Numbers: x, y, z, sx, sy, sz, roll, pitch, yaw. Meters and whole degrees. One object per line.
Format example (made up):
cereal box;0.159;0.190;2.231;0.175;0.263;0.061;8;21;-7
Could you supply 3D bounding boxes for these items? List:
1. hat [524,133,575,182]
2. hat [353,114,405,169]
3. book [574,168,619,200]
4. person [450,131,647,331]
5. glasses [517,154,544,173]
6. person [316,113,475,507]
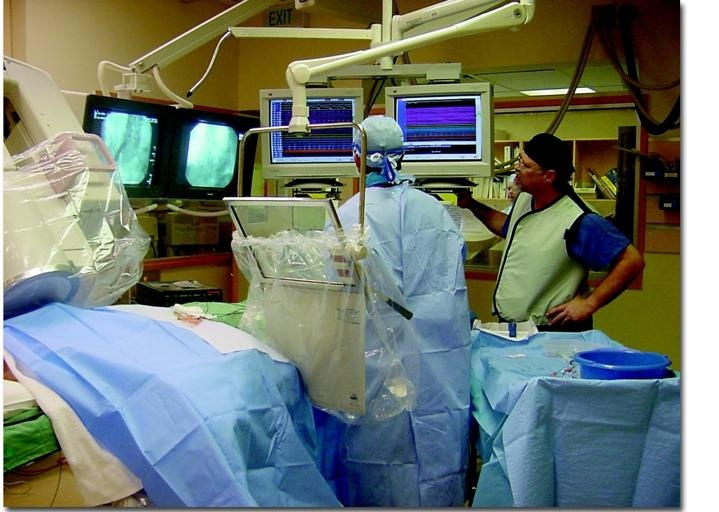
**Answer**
hat;0.832;-0.421;2.583;0.225;0.213;0.165;-13;15;-43
hat;0.074;-0.424;2.201;0.152;0.205;0.173;-3;-16;2
book;1.808;-0.515;4.380;0.323;0.244;0.095;-12;-15;-44
person;0.962;-0.099;3.213;0.781;1.615;0.863;3;-3;-6
glasses;0.731;-0.391;2.555;0.088;0.026;0.084;12;18;-33
person;0.145;0.202;2.143;0.481;1.391;0.556;1;12;17
